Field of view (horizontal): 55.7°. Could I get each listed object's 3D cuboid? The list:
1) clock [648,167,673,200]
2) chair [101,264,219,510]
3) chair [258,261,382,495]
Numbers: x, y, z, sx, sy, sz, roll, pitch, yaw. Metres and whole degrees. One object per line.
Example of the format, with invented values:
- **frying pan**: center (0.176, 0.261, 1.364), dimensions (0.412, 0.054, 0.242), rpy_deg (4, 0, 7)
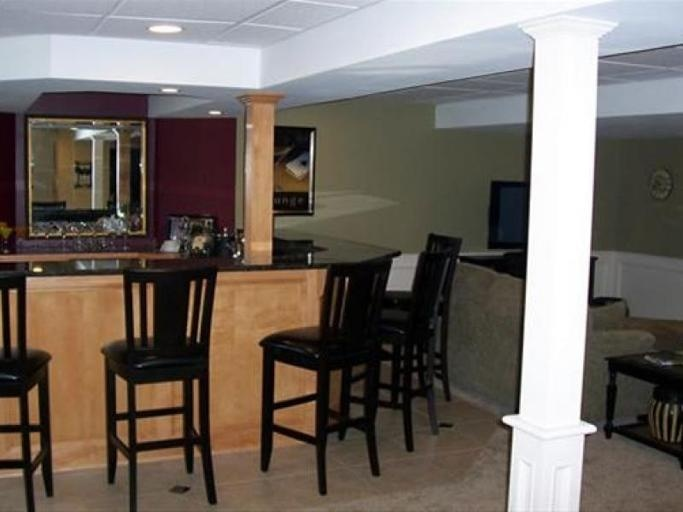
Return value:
- **clock**: center (4.163, -0.941, 8.401), dimensions (0.053, 0.424, 0.321), rpy_deg (-6, 16, -29)
- **chair**: center (-1.095, 0.706, 3.861), dimensions (0.645, 1.433, 0.839), rpy_deg (-3, 15, -20)
- **chair**: center (-0.087, 0.701, 4.158), dimensions (0.846, 1.455, 0.736), rpy_deg (-9, 18, -37)
